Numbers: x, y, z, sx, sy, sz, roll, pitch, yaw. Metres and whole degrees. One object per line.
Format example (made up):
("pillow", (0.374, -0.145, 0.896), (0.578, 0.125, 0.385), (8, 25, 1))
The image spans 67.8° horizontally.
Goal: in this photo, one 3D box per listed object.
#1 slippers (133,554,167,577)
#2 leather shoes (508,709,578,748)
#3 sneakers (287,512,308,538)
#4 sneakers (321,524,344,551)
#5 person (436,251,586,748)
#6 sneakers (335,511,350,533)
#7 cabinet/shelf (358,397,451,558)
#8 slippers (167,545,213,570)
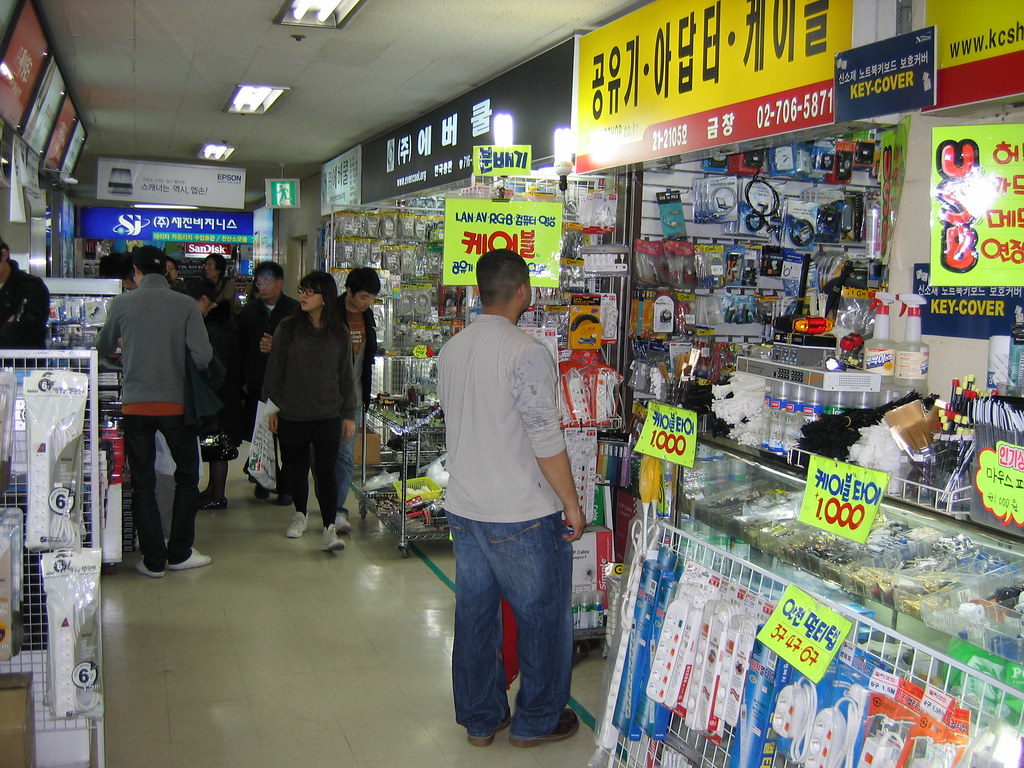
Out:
("slippers", (-2.404, 1.195, 5.032), (0.086, 0.107, 0.245), (0, 4, -33))
("leather shoes", (0.132, 1.498, 3.366), (0.297, 0.148, 0.118), (-11, 15, -34))
("sneakers", (-1.650, 1.062, 5.784), (0.096, 0.127, 0.277), (1, 4, 0))
("sneakers", (-1.297, 1.113, 5.472), (0.099, 0.202, 0.263), (3, -8, -32))
("person", (-0.016, 0.511, 3.169), (0.621, 2.110, 0.376), (1, 6, -3))
("sneakers", (-1.321, 1.068, 5.901), (0.066, 0.157, 0.209), (1, 5, -5))
("cabinet/shelf", (-0.833, 0.750, 6.005), (0.499, 0.902, 1.295), (2, 4, -26))
("slippers", (-2.158, 1.181, 5.106), (0.105, 0.134, 0.289), (6, 6, 40))
